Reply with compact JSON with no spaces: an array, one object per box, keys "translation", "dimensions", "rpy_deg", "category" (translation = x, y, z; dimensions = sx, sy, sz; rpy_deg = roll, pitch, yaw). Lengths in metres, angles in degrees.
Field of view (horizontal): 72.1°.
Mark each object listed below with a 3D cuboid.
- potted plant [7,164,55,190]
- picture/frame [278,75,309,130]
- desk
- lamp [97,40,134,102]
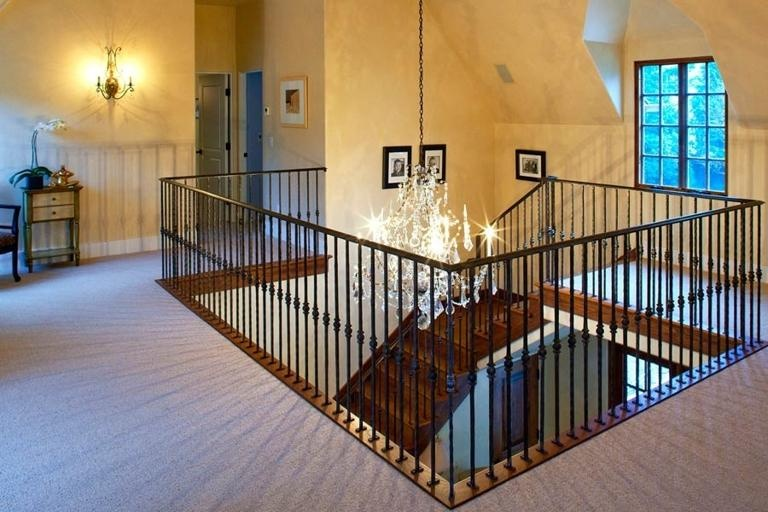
[{"translation":[-4.794,-1.079,7.170],"dimensions":[0.516,0.332,0.502],"rpy_deg":[-6,11,-37],"category":"potted plant"},{"translation":[-1.465,-2.529,8.584],"dimensions":[0.068,0.992,0.882],"rpy_deg":[-4,3,-43],"category":"picture/frame"},{"translation":[-4.665,-0.391,7.335],"dimensions":[0.541,1.457,1.003],"rpy_deg":[7,9,41],"category":"desk"},{"translation":[-3.972,-2.688,7.719],"dimensions":[0.567,0.778,0.624],"rpy_deg":[6,11,11],"category":"lamp"}]
